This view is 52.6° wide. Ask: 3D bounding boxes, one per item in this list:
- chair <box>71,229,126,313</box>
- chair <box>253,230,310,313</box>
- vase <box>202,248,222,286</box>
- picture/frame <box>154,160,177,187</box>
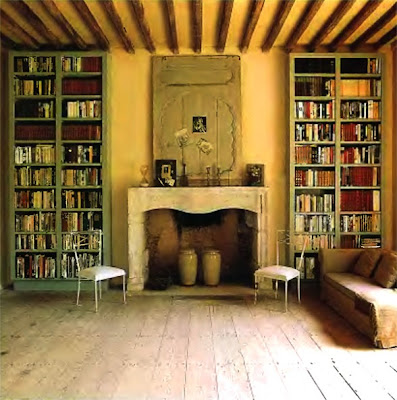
[{"bbox_3d":[-1.137,0.760,4.438,0.511,0.850,0.570,-2,3,-38],"label":"chair"},{"bbox_3d":[0.940,0.741,4.426,0.558,0.822,0.535,0,0,-25],"label":"chair"},{"bbox_3d":[0.156,0.852,5.020,0.228,0.450,0.164,0,6,-1],"label":"vase"},{"bbox_3d":[-0.443,-0.338,5.088,0.274,0.370,0.035,1,-23,-6],"label":"picture/frame"}]
